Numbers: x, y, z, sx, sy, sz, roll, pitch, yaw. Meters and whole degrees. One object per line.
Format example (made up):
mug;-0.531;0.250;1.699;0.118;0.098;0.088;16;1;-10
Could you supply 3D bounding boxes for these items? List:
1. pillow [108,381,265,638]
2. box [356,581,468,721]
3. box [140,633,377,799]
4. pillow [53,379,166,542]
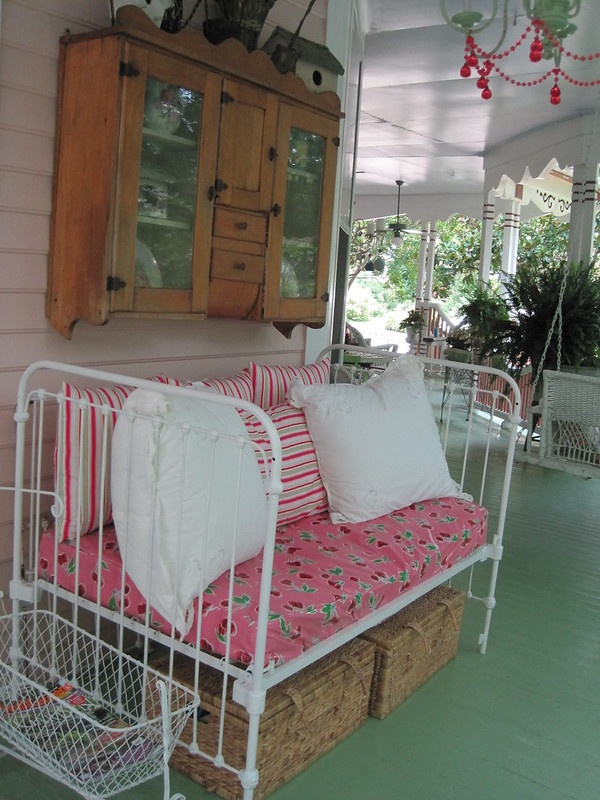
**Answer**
pillow;-0.279;0.102;1.541;0.227;0.366;0.380;16;37;7
box;0.347;0.780;2.093;0.269;0.205;0.388;12;19;39
box;-0.094;0.713;1.580;0.370;0.210;0.493;11;15;40
pillow;-0.583;0.200;1.855;0.137;0.347;0.400;3;-4;-5
